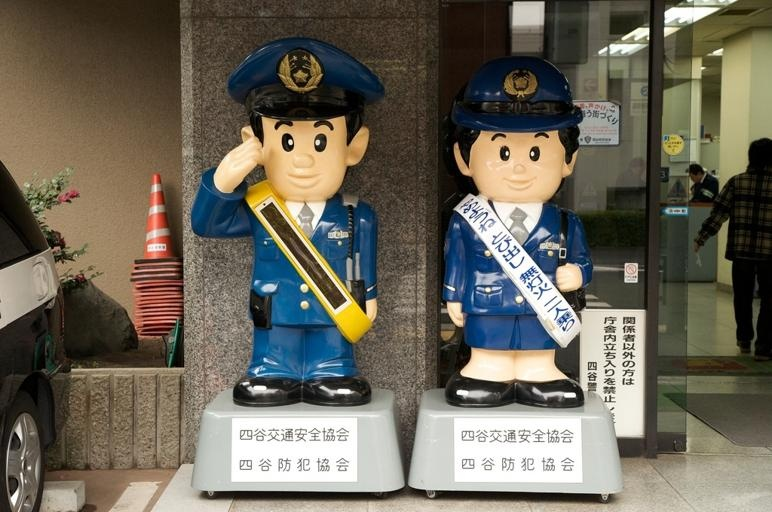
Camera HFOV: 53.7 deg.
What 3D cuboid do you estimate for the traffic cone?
[{"bbox_3d":[-1.829,0.089,6.050,0.387,0.948,0.839,-6,13,-18],"label":"traffic cone"}]

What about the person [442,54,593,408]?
[{"bbox_3d":[0.838,-0.167,4.882,0.940,2.154,0.656,-1,13,4],"label":"person"}]
